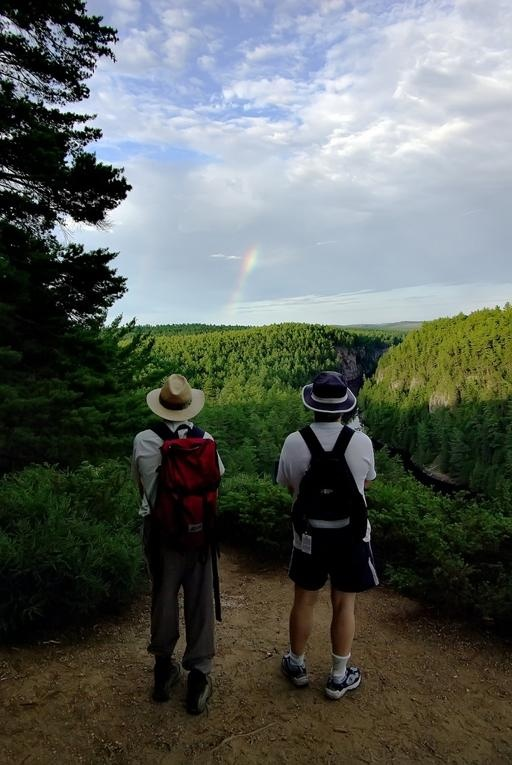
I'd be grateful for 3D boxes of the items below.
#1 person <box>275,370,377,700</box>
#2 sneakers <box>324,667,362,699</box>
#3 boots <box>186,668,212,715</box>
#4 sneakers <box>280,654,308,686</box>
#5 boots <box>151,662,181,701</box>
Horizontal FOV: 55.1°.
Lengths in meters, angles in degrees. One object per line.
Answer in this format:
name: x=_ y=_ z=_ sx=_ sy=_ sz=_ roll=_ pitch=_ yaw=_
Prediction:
person: x=0.533 y=1.106 z=3.654 sx=0.766 sy=2.242 sz=0.759 roll=1 pitch=4 yaw=7
sneakers: x=0.642 y=2.167 z=3.627 sx=0.127 sy=0.154 sz=0.335 roll=-8 pitch=-9 yaw=40
boots: x=-0.373 y=2.108 z=3.427 sx=0.116 sy=0.230 sz=0.328 roll=2 pitch=8 yaw=9
sneakers: x=0.296 y=2.164 z=3.740 sx=0.112 sy=0.135 sz=0.295 roll=2 pitch=-2 yaw=-11
boots: x=-0.633 y=2.104 z=3.559 sx=0.117 sy=0.217 sz=0.307 roll=0 pitch=15 yaw=7
